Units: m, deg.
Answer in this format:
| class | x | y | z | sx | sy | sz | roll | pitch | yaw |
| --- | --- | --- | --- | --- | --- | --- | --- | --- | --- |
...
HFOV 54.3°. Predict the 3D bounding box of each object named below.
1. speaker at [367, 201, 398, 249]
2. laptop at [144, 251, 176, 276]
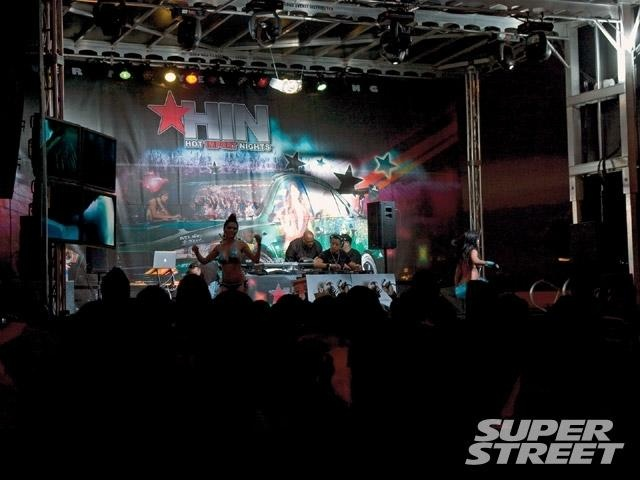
| class | x | y | z | sx | sy | sz | roll | pitch | yaw |
| --- | --- | --- | --- | --- | --- | --- | --- | --- | --- |
| speaker | 1.037 | -0.238 | 10.554 | 0.484 | 0.813 | 0.484 | 3 | 8 | 4 |
| laptop | -2.819 | 0.461 | 11.163 | 0.454 | 0.338 | 0.477 | 3 | -11 | -21 |
